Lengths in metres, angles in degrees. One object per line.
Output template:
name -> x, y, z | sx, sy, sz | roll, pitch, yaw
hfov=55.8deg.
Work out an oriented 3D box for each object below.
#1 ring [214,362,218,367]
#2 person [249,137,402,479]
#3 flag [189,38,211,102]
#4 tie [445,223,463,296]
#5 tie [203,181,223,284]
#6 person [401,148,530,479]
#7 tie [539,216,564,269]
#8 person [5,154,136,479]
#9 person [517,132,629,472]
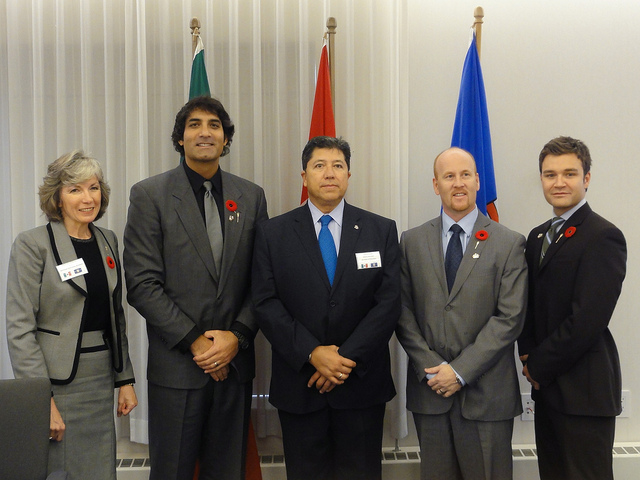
ring -> -0.606, 0.724, 3.531 | 0.006, 0.027, 0.024 | -1, 12, -28
person -> 0.035, 0.393, 3.631 | 0.886, 2.058, 0.329 | -1, -1, 7
flag -> -0.870, -1.208, 4.201 | 0.161, 0.100, 0.559 | -10, -29, -17
tie -> 0.810, 0.111, 3.676 | 0.082, 0.421, 0.020 | -1, -21, 15
tie -> -0.642, -0.046, 3.677 | 0.088, 0.616, 0.057 | 0, -21, -16
person -> 0.856, 0.425, 3.632 | 0.730, 1.989, 0.333 | -1, -1, 21
tie -> 1.438, -0.034, 3.762 | 0.070, 0.546, 0.061 | 27, -36, -3
person -> -1.437, 0.459, 3.546 | 0.704, 1.929, 0.235 | 0, -1, -36
person -> 1.503, 0.397, 3.648 | 0.621, 2.080, 0.311 | -1, -1, 29
